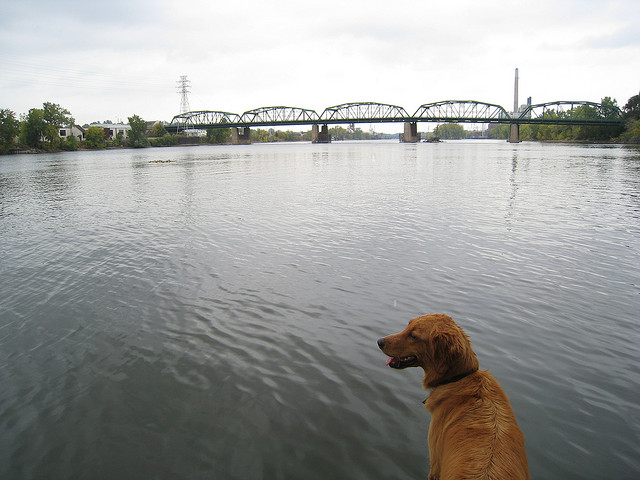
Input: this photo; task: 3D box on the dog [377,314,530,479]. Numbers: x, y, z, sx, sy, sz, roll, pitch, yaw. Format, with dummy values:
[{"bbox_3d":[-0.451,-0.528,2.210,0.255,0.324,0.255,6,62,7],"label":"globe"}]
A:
[{"bbox_3d":[1.789,2.162,6.922,1.228,2.021,1.821,-7,16,-20],"label":"dog"}]
